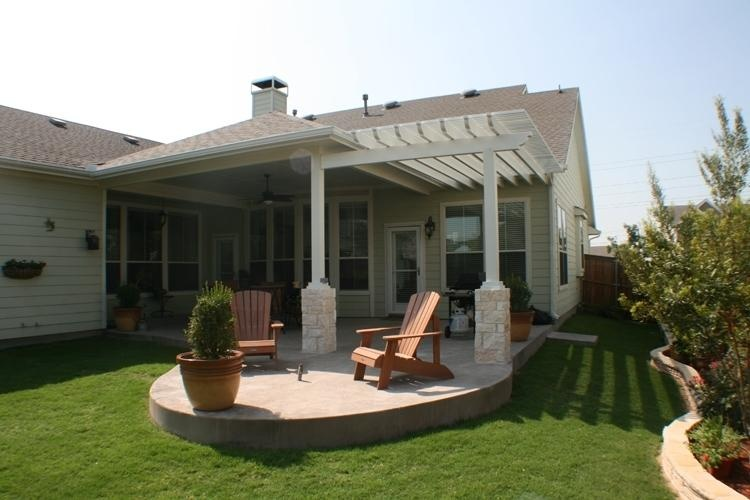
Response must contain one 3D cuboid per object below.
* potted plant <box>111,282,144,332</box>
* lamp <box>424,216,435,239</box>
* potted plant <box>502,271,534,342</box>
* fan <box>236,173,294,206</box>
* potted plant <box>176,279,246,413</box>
[{"bbox_3d":[-5.639,1.286,12.290,0.659,1.008,0.669,-5,-6,36],"label":"potted plant"},{"bbox_3d":[1.383,-0.567,13.459,0.275,0.563,0.167,-1,12,-6],"label":"lamp"},{"bbox_3d":[2.830,1.184,10.558,0.571,1.154,0.931,2,11,10],"label":"potted plant"},{"bbox_3d":[-2.402,-1.427,12.420,0.815,0.507,0.814,-4,-7,19],"label":"fan"},{"bbox_3d":[-2.191,1.310,7.278,0.885,1.538,0.868,-3,-2,-1],"label":"potted plant"}]
